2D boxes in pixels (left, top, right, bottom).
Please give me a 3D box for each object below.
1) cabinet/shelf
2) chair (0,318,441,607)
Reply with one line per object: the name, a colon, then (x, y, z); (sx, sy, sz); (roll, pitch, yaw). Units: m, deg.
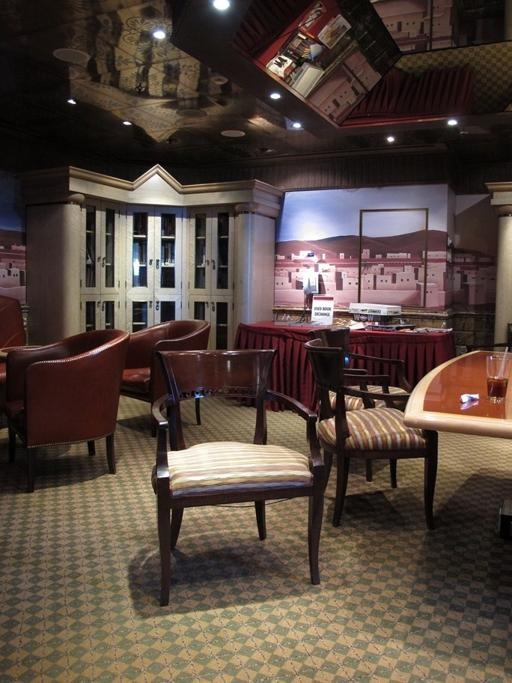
cabinet/shelf: (-1.231, -0.902, 5.528); (2.262, 2.274, 0.776); (-2, 7, -22)
chair: (0.169, 0.442, 2.155); (1.236, 0.831, 1.029); (0, 3, -15)
